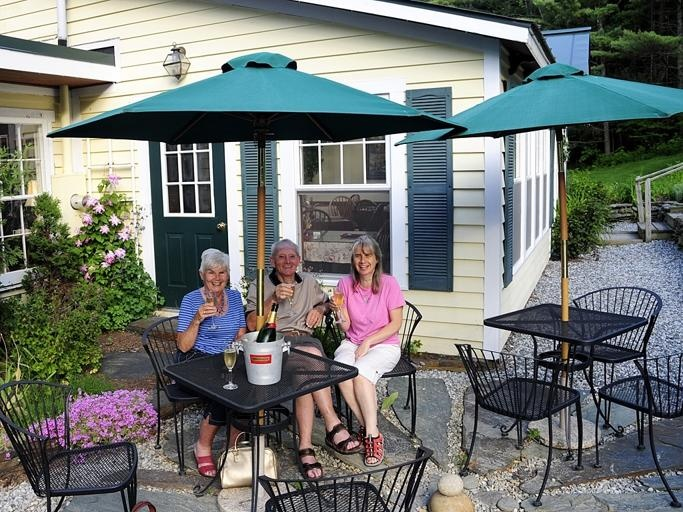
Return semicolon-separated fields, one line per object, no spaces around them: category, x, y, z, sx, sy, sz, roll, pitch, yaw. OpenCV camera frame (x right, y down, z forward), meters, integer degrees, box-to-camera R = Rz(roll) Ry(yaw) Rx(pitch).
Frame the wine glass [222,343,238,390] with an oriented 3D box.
wine glass;-0.687;0.664;3.885;0.089;0.240;0.370;-4;8;-8

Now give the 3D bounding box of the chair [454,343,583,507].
chair;1.298;1.289;4.591;0.703;1.016;0.691;-20;24;-36

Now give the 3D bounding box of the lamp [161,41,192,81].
lamp;-1.880;-2.211;7.151;0.206;0.391;0.207;-4;10;14

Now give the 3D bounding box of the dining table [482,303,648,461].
dining table;1.719;0.874;4.801;0.790;0.539;0.788;-13;16;-37

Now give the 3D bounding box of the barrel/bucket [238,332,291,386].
barrel/bucket;-0.476;0.638;3.895;0.297;0.282;0.309;0;6;0

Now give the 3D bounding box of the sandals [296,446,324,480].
sandals;-0.217;1.432;4.284;0.155;0.150;0.462;-1;4;-15

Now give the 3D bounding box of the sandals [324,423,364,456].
sandals;0.012;1.334;4.539;0.149;0.154;0.307;-8;5;-43

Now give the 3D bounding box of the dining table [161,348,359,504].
dining table;-0.462;0.777;4.075;0.945;1.045;0.977;4;8;36

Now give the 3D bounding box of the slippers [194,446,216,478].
slippers;-0.976;1.457;4.472;0.103;0.079;0.285;-6;40;-32

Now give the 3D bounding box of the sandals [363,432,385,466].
sandals;0.229;1.390;4.424;0.092;0.114;0.260;-1;5;3

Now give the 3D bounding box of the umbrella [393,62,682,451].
umbrella;1.382;-0.220;4.811;2.051;1.974;2.149;-7;6;-3
